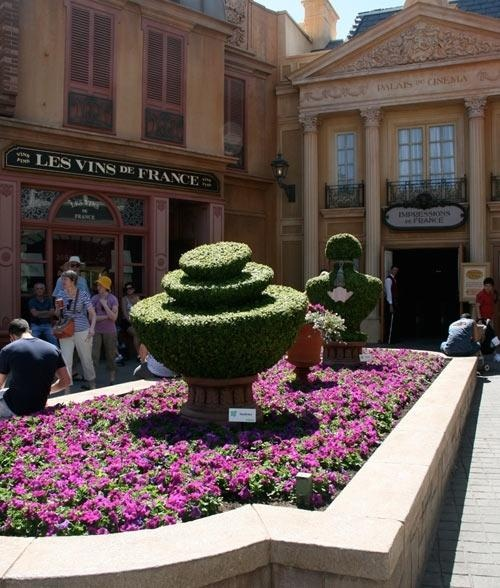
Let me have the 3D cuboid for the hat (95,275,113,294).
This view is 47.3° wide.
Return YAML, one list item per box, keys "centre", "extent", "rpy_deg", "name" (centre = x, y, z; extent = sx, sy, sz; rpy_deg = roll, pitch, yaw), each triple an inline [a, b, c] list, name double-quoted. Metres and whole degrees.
- centre: [-2.732, -0.185, 10.588]
  extent: [0.357, 0.212, 0.288]
  rpy_deg: [25, 6, 5]
  name: "hat"

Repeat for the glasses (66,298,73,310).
- centre: [-2.485, 0.133, 7.873]
  extent: [0.078, 0.105, 0.028]
  rpy_deg: [12, -6, -2]
  name: "glasses"

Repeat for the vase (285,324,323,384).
- centre: [0.652, 0.723, 7.141]
  extent: [0.591, 0.765, 0.593]
  rpy_deg: [3, 8, 8]
  name: "vase"

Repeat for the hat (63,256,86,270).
- centre: [-3.148, -0.548, 10.159]
  extent: [0.369, 0.153, 0.453]
  rpy_deg: [-1, -9, -12]
  name: "hat"

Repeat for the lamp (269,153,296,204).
- centre: [1.017, -3.590, 17.356]
  extent: [0.696, 1.532, 1.798]
  rpy_deg: [-1, 5, 4]
  name: "lamp"

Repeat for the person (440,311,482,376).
- centre: [4.039, 0.856, 10.830]
  extent: [0.793, 1.010, 0.863]
  rpy_deg: [4, 2, 7]
  name: "person"
